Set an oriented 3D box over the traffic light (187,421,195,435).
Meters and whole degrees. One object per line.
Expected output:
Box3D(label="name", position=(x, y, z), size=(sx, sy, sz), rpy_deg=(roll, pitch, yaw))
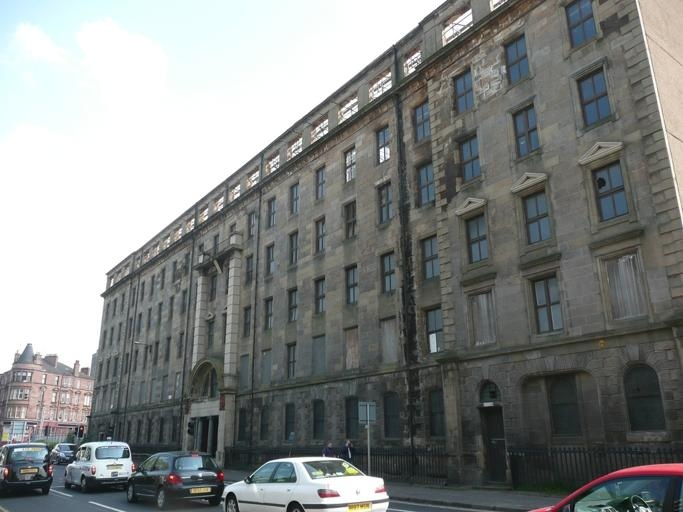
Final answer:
Box3D(label="traffic light", position=(-11.902, 13.376, 41.807), size=(0.601, 1.231, 2.601), rpy_deg=(5, -25, -14))
